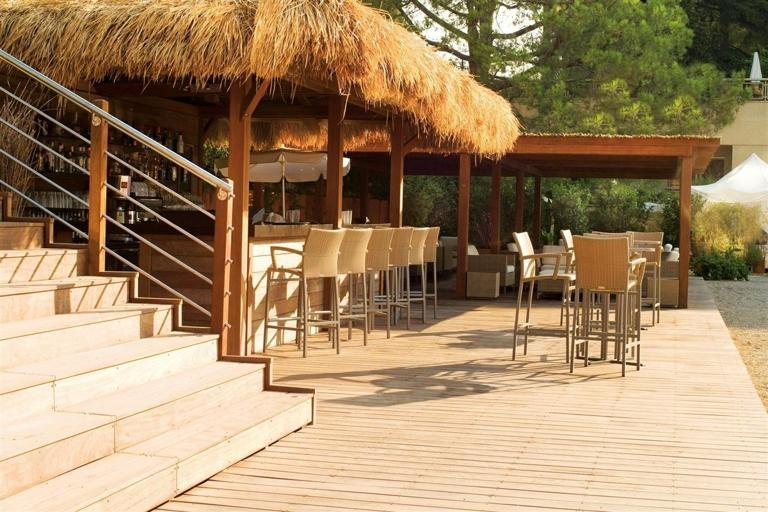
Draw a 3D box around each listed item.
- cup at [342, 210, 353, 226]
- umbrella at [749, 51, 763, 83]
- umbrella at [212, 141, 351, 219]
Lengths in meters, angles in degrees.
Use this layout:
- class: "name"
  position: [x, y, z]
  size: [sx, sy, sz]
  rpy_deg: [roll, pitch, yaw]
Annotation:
- class: "cup"
  position: [-0.514, -0.565, 10.685]
  size: [0.223, 0.254, 0.222]
  rpy_deg: [-1, 5, 0]
- class: "umbrella"
  position: [14.828, -7.343, 28.932]
  size: [0.468, 1.170, 1.271]
  rpy_deg: [5, 6, 27]
- class: "umbrella"
  position: [-1.740, -1.356, 13.042]
  size: [1.443, 0.948, 1.425]
  rpy_deg: [-4, 24, 3]
